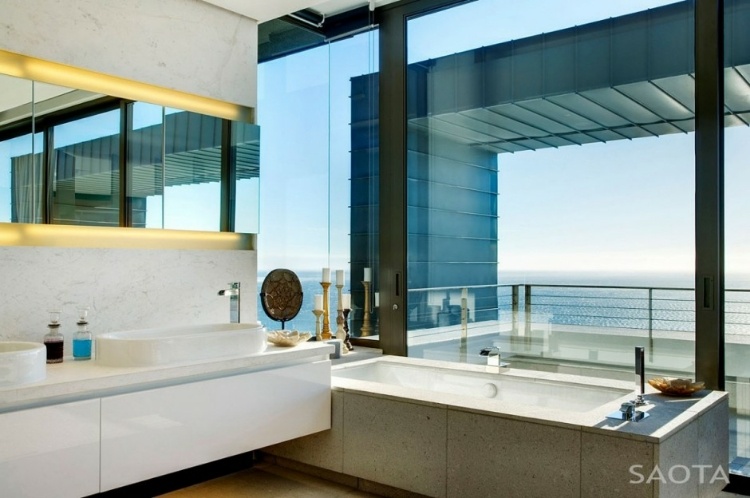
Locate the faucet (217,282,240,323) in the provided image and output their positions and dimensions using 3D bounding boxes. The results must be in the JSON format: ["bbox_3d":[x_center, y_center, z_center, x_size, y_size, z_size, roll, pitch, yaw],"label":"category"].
[{"bbox_3d":[-1.045,0.383,4.028,0.150,0.300,0.322,-1,0,-14],"label":"faucet"}]

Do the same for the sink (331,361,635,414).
[{"bbox_3d":[0.781,0.988,4.173,2.079,0.187,0.440,0,0,22],"label":"sink"}]

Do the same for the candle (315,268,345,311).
[{"bbox_3d":[-0.366,0.335,4.706,0.231,0.364,0.146,-1,0,-26],"label":"candle"}]

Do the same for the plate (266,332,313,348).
[{"bbox_3d":[-0.621,0.622,3.929,0.272,0.089,0.265,0,0,5],"label":"plate"}]

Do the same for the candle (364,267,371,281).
[{"bbox_3d":[-0.074,0.220,5.019,0.086,0.126,0.020,-1,0,-42],"label":"candle"}]
